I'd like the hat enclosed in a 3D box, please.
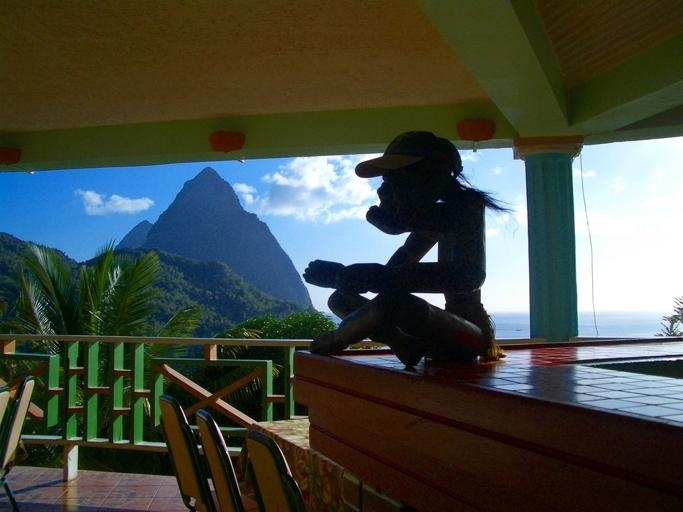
[{"bbox_3d":[0.220,-0.303,1.566,0.267,0.130,0.169,4,0,-2],"label":"hat"}]

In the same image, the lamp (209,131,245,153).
[{"bbox_3d":[-1.029,-1.031,4.282,0.338,0.210,0.198,0,-4,2],"label":"lamp"}]

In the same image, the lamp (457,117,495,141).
[{"bbox_3d":[1.089,-1.022,3.867,0.215,0.084,0.214,1,-11,-5],"label":"lamp"}]

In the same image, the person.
[{"bbox_3d":[0.196,-0.013,1.591,0.651,0.730,0.549,3,1,11],"label":"person"}]
